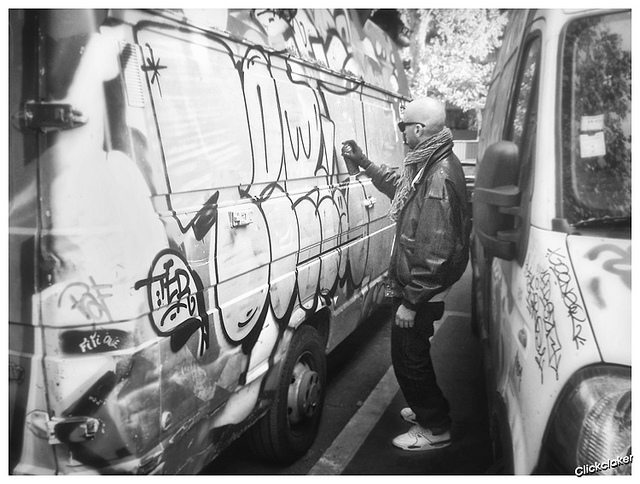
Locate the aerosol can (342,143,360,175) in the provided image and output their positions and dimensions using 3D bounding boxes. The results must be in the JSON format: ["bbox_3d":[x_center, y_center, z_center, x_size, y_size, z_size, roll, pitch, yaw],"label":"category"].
[{"bbox_3d":[0.266,-0.743,3.686,0.053,0.241,0.166,-5,13,18],"label":"aerosol can"}]
